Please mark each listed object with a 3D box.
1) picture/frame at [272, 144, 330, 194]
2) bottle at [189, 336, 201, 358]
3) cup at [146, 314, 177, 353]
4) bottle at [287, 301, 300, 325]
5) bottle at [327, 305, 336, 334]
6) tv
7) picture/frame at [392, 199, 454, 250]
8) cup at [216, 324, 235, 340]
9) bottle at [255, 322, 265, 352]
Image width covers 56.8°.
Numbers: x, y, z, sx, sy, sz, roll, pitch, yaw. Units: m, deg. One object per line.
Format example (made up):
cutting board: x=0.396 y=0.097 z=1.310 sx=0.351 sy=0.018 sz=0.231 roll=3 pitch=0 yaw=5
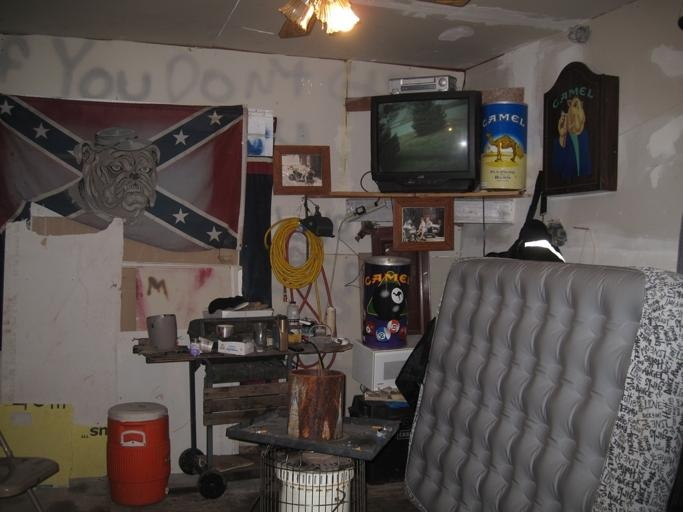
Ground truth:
picture/frame: x=-0.366 y=-0.737 z=5.317 sx=0.401 sy=0.369 sz=0.029 roll=0 pitch=0 yaw=-12
bottle: x=-1.071 y=0.677 z=4.642 sx=0.102 sy=0.178 sz=0.102 roll=0 pitch=1 yaw=0
cup: x=-1.344 y=0.581 z=4.820 sx=0.238 sy=0.263 sz=0.272 roll=-2 pitch=1 yaw=-29
bottle: x=-0.393 y=0.473 z=5.212 sx=0.130 sy=0.262 sz=0.136 roll=1 pitch=-4 yaw=0
bottle: x=-0.087 y=0.535 z=5.183 sx=0.078 sy=0.228 sz=0.094 roll=-1 pitch=1 yaw=-6
tv: x=0.705 y=-0.926 z=5.193 sx=0.883 sy=0.821 sz=0.511 roll=2 pitch=10 yaw=21
picture/frame: x=0.665 y=-0.269 z=5.185 sx=0.378 sy=0.402 sz=0.030 roll=0 pitch=1 yaw=-4
cup: x=-0.875 y=0.565 z=4.725 sx=0.095 sy=0.086 sz=0.110 roll=-2 pitch=7 yaw=-31
bottle: x=-0.611 y=0.608 z=4.771 sx=0.077 sy=0.197 sz=0.044 roll=-1 pitch=1 yaw=-8
